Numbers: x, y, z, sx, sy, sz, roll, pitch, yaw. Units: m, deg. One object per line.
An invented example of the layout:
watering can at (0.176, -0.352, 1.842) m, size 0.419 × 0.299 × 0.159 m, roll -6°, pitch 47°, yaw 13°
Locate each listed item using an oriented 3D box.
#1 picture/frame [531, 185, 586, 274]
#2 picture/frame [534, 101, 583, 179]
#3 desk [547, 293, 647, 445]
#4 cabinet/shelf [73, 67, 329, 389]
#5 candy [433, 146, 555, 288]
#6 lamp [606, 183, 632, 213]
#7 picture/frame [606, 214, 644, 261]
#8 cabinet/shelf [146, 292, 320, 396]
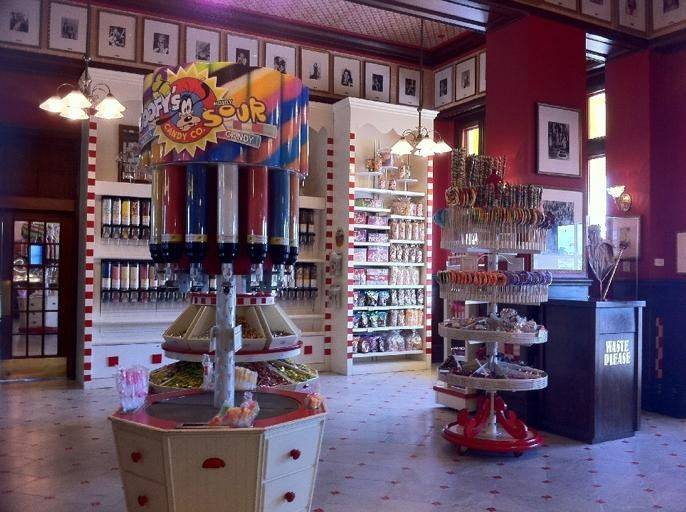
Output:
picture/frame at (2.620, -0.285, 6.856) m, size 0.031 × 1.052 × 0.765 m, roll -7°, pitch 8°, yaw -37°
picture/frame at (2.633, -1.404, 6.838) m, size 0.936 × 1.162 × 0.073 m, roll 2°, pitch -6°, yaw -27°
desk at (2.848, 1.273, 6.407) m, size 0.838 × 1.516 × 0.870 m, roll 4°, pitch -5°, yaw -30°
cabinet/shelf at (-0.772, -0.238, 3.691) m, size 1.108 × 1.739 × 1.051 m, roll 0°, pitch 0°, yaw -9°
candy at (1.502, -0.424, 6.001) m, size 1.109 × 1.069 × 1.112 m, roll 1°, pitch -1°, yaw -17°
lamp at (3.706, -0.756, 7.454) m, size 0.093 × 0.362 × 0.371 m, roll 0°, pitch 2°, yaw -22°
picture/frame at (3.596, -0.209, 7.051) m, size 0.569 × 0.689 × 0.071 m, roll 2°, pitch -2°, yaw -3°
cabinet/shelf at (-0.935, 0.760, 4.655) m, size 0.980 × 0.500 × 0.987 m, roll 2°, pitch -2°, yaw -16°
